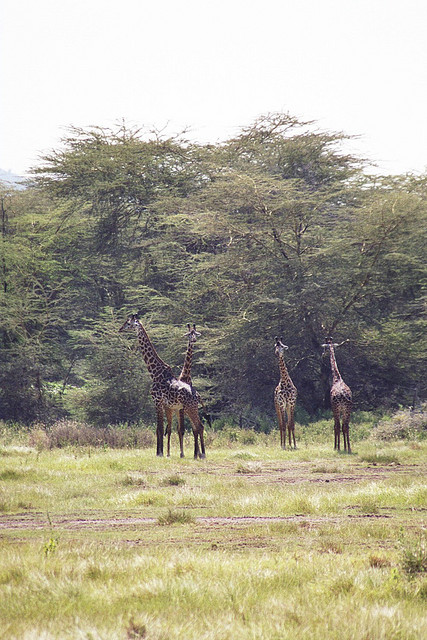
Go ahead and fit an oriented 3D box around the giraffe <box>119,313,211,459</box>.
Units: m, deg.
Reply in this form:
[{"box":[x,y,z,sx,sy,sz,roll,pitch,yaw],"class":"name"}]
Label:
[{"box":[-0.978,1.325,23.988,1.571,3.091,2.280,-2,-5,-4],"class":"giraffe"}]
